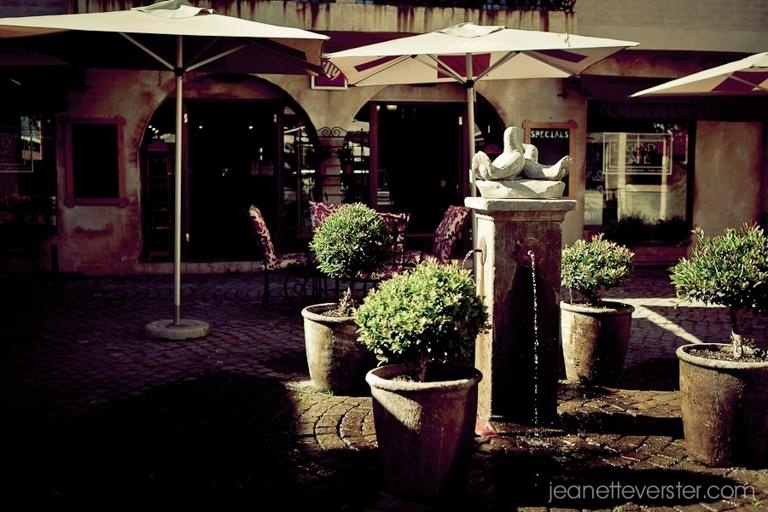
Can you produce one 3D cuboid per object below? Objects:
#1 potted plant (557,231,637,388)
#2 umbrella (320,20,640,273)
[{"bbox_3d":[2.543,0.661,9.621,0.839,1.662,0.558,2,7,12],"label":"potted plant"},{"bbox_3d":[1.152,-1.830,10.720,3.489,2.397,3.231,-2,1,-13],"label":"umbrella"}]
